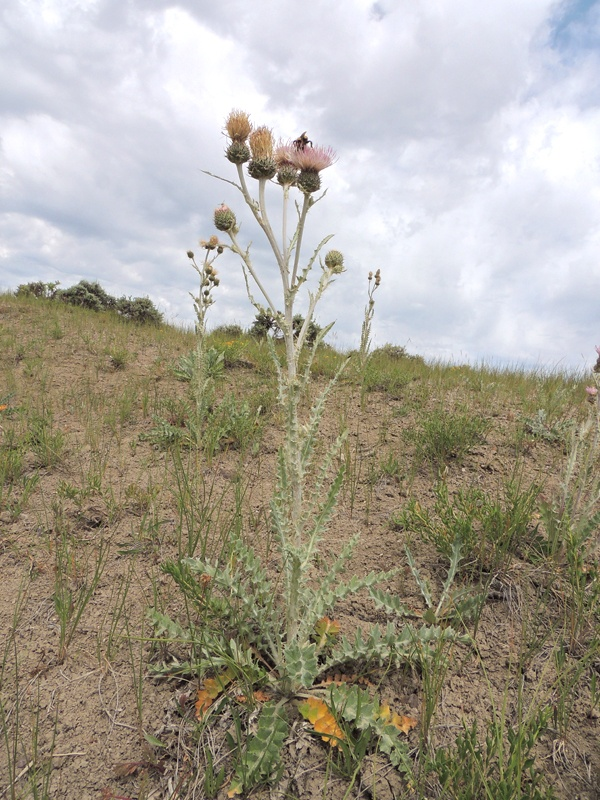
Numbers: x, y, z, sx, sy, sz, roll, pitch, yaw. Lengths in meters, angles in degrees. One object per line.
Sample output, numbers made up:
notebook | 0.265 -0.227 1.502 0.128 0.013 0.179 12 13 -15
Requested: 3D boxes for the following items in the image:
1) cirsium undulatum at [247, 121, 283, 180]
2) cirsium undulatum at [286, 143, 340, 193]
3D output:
cirsium undulatum | -0.141 -0.955 2.049 0.116 0.235 0.186 5 6 -8
cirsium undulatum | 0.035 -0.905 2.096 0.155 0.217 0.182 7 6 -3
